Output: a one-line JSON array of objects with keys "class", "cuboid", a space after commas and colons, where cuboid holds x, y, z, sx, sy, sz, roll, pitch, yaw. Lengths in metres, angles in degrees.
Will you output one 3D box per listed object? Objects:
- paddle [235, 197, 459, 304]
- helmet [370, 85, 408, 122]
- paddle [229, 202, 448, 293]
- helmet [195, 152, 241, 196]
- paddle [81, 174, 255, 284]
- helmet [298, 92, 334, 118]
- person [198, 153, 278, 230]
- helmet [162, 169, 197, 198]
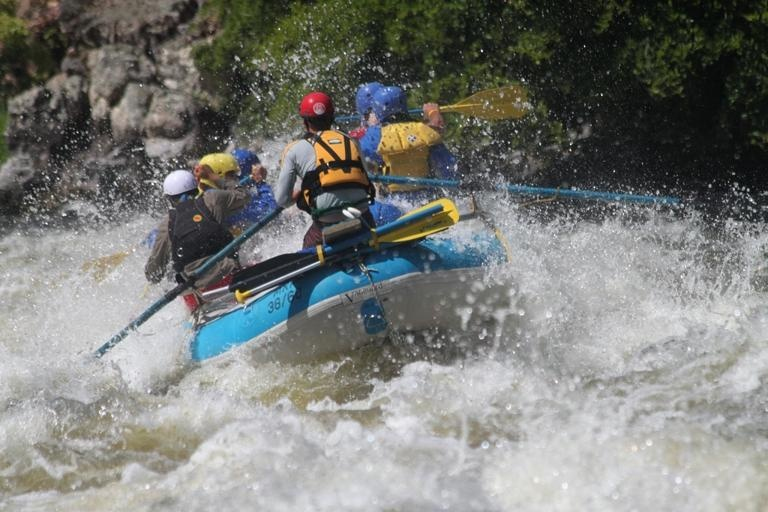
[{"class": "paddle", "cuboid": [-0.464, -0.024, 16.250, 2.912, 0.420, 0.455, -21, 61, 3]}, {"class": "helmet", "cuboid": [0.074, -2.338, 17.763, 0.418, 0.435, 0.559, -9, 37, -3]}, {"class": "paddle", "cuboid": [-0.529, -0.106, 16.184, 2.920, 0.384, 0.409, -14, 57, 17]}, {"class": "helmet", "cuboid": [-2.463, -1.194, 17.379, 0.654, 0.466, 0.559, -16, 103, -10]}, {"class": "paddle", "cuboid": [-3.305, -0.335, 18.146, 3.654, 0.199, 0.610, -30, 86, -5]}, {"class": "helmet", "cuboid": [-0.932, -1.995, 16.110, 0.411, 0.314, 0.305, 14, 72, 8]}, {"class": "person", "cuboid": [-2.091, -1.018, 17.570, 1.196, 0.556, 1.169, 23, 112, 35]}, {"class": "helmet", "cuboid": [-3.012, -1.012, 17.113, 0.348, 0.426, 0.374, -22, 66, 42]}]
